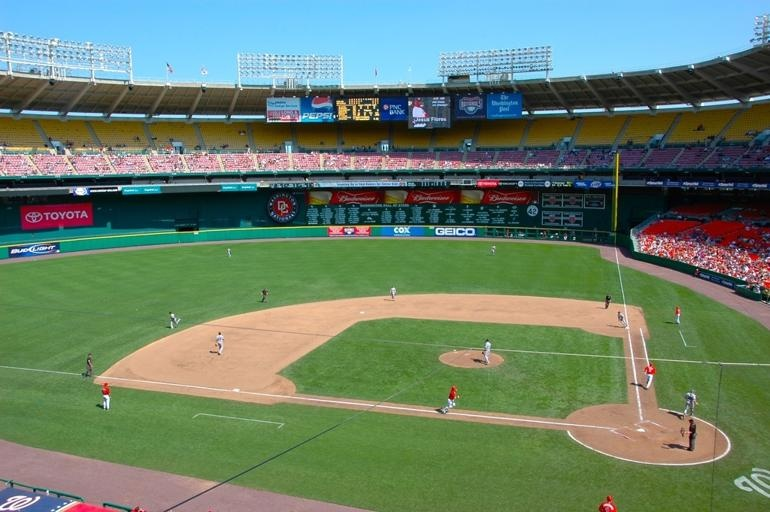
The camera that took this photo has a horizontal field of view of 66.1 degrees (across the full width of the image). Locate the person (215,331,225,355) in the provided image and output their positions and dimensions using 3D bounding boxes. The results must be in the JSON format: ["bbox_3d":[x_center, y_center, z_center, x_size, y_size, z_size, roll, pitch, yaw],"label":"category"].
[{"bbox_3d":[-12.072,6.259,43.290,0.600,1.375,1.601,-3,10,-17],"label":"person"}]
